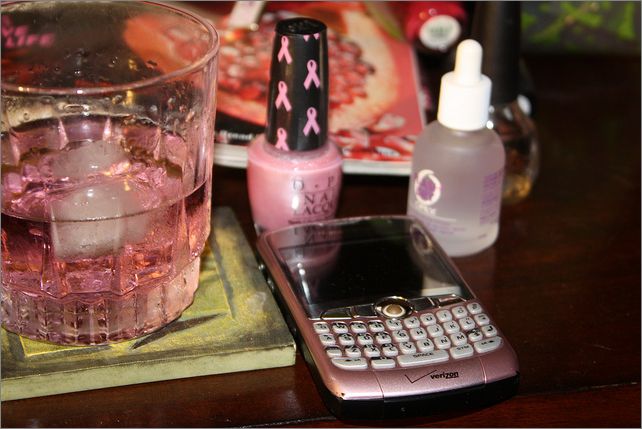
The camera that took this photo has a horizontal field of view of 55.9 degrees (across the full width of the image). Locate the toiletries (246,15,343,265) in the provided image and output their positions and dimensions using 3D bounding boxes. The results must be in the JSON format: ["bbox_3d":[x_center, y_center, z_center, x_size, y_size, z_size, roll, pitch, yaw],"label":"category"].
[{"bbox_3d":[-0.021,-0.064,0.531,0.088,0.191,0.082,0,31,-7],"label":"toiletries"}]

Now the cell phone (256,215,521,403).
[{"bbox_3d":[0.045,0.073,0.481,0.157,0.029,0.197,-2,33,-14],"label":"cell phone"}]
